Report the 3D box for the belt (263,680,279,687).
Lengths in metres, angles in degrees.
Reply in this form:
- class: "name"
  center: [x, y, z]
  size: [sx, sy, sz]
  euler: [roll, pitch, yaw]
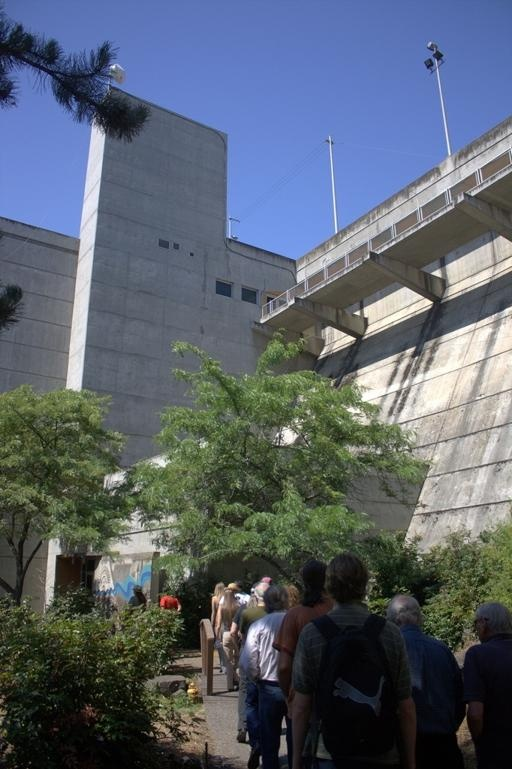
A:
- class: "belt"
  center: [0.093, 2.017, 4.197]
  size: [0.121, 0.043, 0.018]
  euler: [-5, -13, 37]
